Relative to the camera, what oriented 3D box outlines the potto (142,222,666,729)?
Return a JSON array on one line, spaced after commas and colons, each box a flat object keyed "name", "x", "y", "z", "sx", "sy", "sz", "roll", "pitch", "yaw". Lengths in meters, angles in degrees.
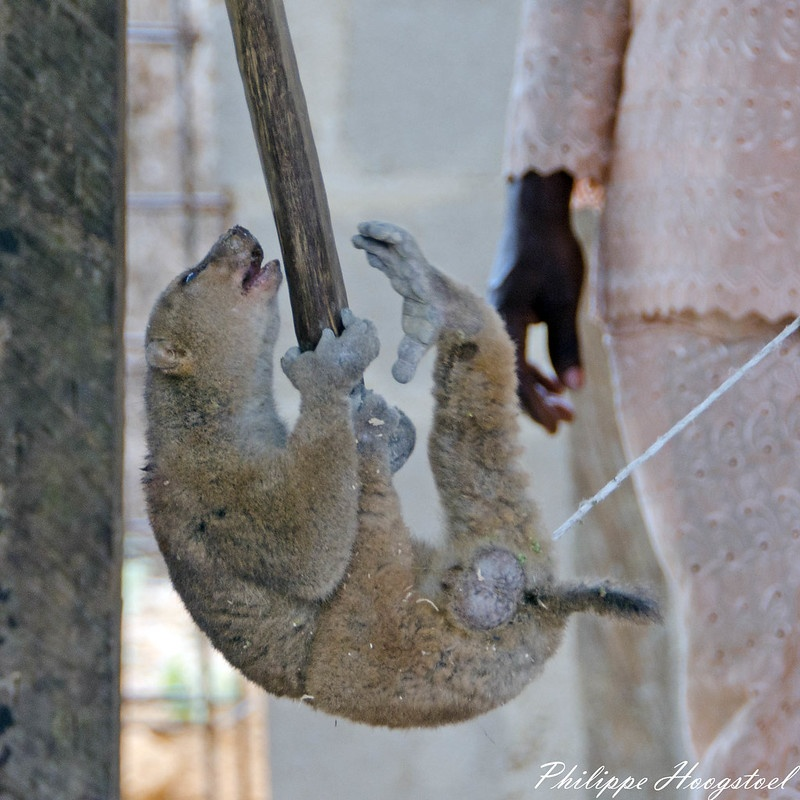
[{"name": "potto", "x": -0.021, "y": 0.174, "z": 5.364, "sx": 0.941, "sy": 0.383, "sz": 1.012, "roll": 11, "pitch": 85, "yaw": 13}]
